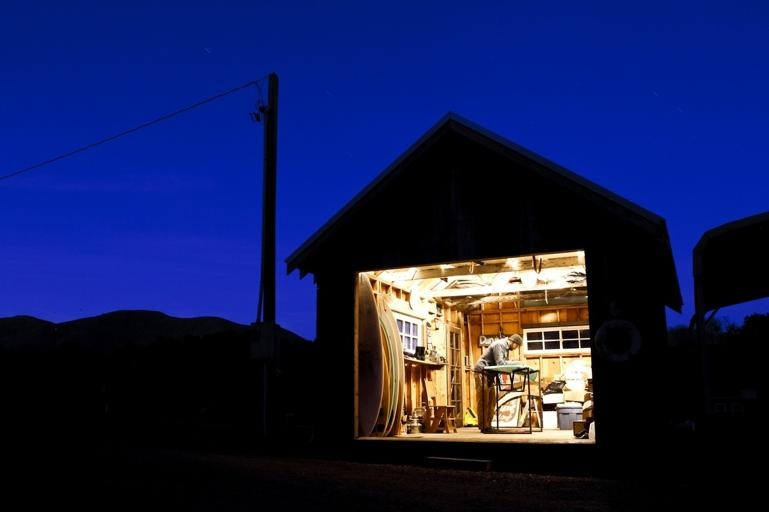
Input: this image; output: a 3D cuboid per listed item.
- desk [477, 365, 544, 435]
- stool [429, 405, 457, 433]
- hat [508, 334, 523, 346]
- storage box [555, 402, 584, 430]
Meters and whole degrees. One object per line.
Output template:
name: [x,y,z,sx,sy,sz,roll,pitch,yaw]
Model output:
desk: [3.421,3.948,20.595,1.235,1.792,3.222,-3,-10,11]
stool: [1.600,4.504,20.420,0.781,0.848,1.011,-10,-16,23]
hat: [3.887,2.486,21.964,0.299,0.278,0.338,12,2,16]
storage box: [5.040,4.351,20.224,0.700,0.681,0.729,-4,-8,26]
